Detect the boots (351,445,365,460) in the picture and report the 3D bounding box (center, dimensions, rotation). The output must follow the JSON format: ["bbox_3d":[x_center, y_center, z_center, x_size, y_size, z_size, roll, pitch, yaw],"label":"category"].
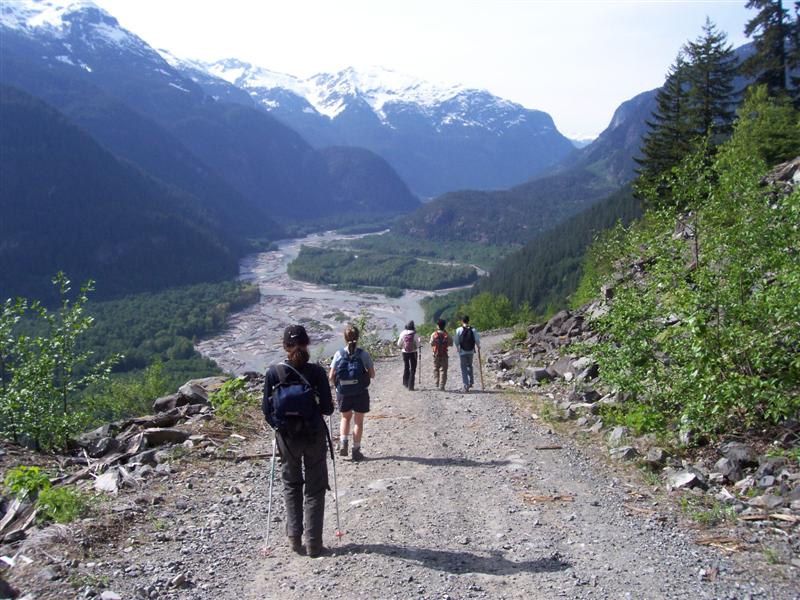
[{"bbox_3d":[-1.203,4.411,18.466,0.341,0.428,0.357,7,19,23],"label":"boots"}]
